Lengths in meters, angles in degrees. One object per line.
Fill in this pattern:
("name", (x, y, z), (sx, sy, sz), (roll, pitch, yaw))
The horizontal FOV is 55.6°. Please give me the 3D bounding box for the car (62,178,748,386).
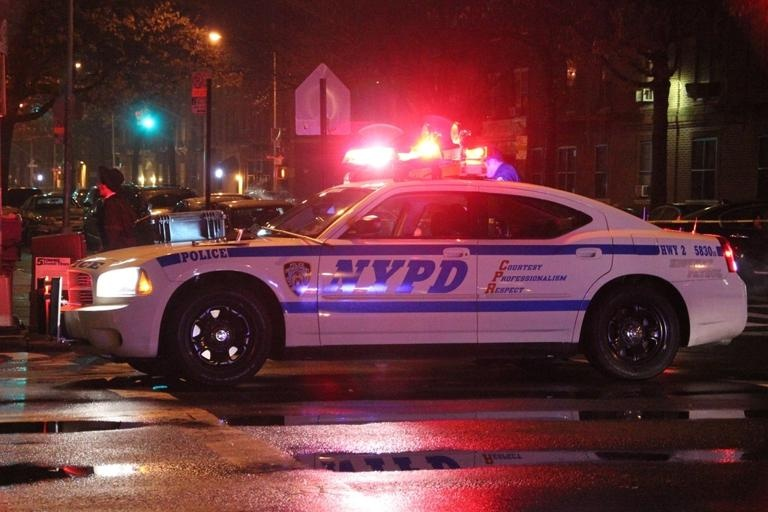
("car", (0.362, 0.281, 8.769), (7.252, 2.169, 2.733), (2, -1, -9))
